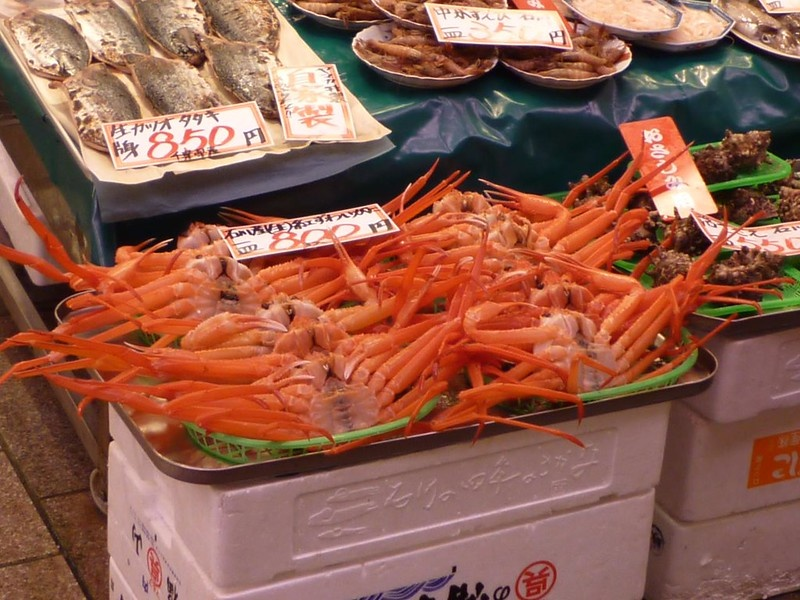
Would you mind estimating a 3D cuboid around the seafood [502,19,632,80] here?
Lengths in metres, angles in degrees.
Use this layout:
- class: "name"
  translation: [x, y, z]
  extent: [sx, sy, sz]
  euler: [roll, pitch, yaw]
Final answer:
- class: "seafood"
  translation: [0.549, -0.850, 2.262]
  extent: [0.429, 0.192, 0.390]
  euler: [-14, 26, -24]
